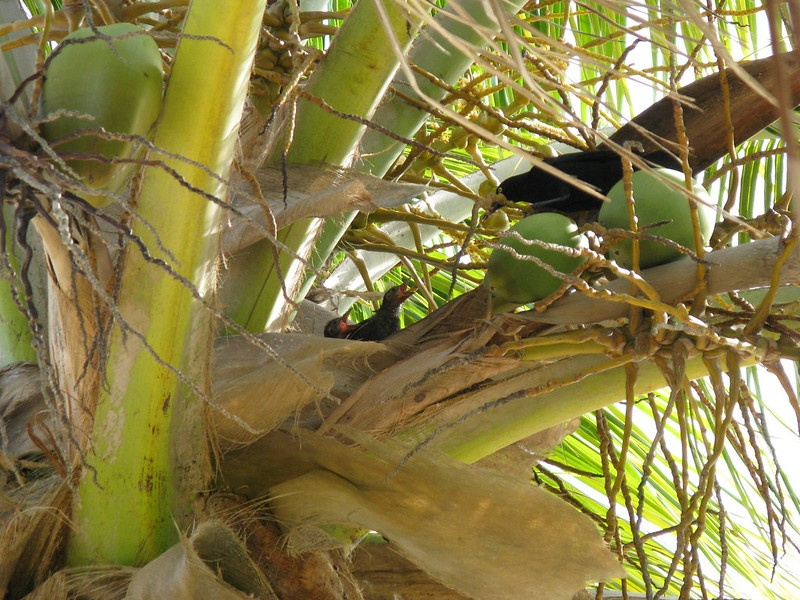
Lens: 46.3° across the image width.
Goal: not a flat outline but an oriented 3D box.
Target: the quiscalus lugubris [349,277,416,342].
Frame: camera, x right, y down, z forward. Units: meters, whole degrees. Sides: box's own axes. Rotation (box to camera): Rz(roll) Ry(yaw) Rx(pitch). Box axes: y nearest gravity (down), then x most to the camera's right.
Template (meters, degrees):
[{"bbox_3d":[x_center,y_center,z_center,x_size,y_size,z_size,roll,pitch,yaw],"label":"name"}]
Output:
[{"bbox_3d":[-0.026,0.010,1.241,0.071,0.084,0.075,-1,1,-2],"label":"quiscalus lugubris"}]

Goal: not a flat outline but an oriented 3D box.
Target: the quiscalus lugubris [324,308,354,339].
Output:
[{"bbox_3d":[-0.086,0.033,1.312,0.022,0.025,0.048,32,-45,-28],"label":"quiscalus lugubris"}]
